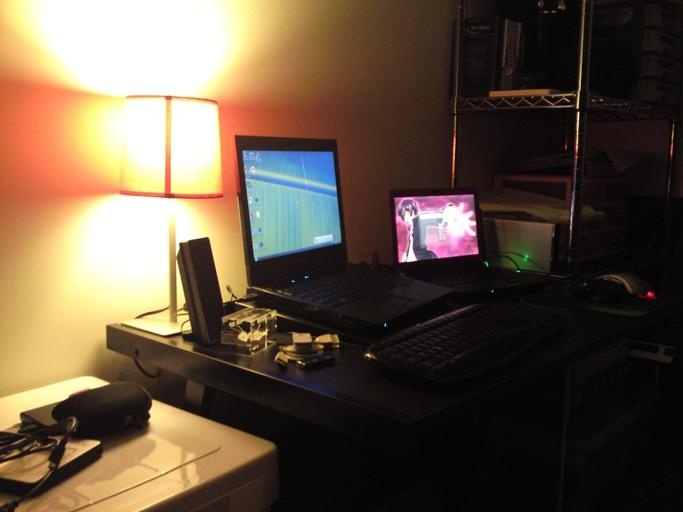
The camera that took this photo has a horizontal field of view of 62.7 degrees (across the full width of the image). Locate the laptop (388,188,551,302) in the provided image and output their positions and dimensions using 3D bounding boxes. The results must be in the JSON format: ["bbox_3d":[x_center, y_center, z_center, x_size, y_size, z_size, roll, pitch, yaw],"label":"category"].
[{"bbox_3d":[0.373,-0.048,1.675,0.425,0.303,0.352,-8,11,-38],"label":"laptop"}]

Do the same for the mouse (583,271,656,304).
[{"bbox_3d":[0.776,0.089,1.571,0.121,0.040,0.105,3,20,17],"label":"mouse"}]

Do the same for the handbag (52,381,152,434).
[{"bbox_3d":[-0.462,0.265,1.068,0.132,0.061,0.096,-7,12,-22],"label":"handbag"}]

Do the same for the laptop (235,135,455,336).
[{"bbox_3d":[-0.004,-0.063,1.492,0.509,0.477,0.484,11,16,34],"label":"laptop"}]
